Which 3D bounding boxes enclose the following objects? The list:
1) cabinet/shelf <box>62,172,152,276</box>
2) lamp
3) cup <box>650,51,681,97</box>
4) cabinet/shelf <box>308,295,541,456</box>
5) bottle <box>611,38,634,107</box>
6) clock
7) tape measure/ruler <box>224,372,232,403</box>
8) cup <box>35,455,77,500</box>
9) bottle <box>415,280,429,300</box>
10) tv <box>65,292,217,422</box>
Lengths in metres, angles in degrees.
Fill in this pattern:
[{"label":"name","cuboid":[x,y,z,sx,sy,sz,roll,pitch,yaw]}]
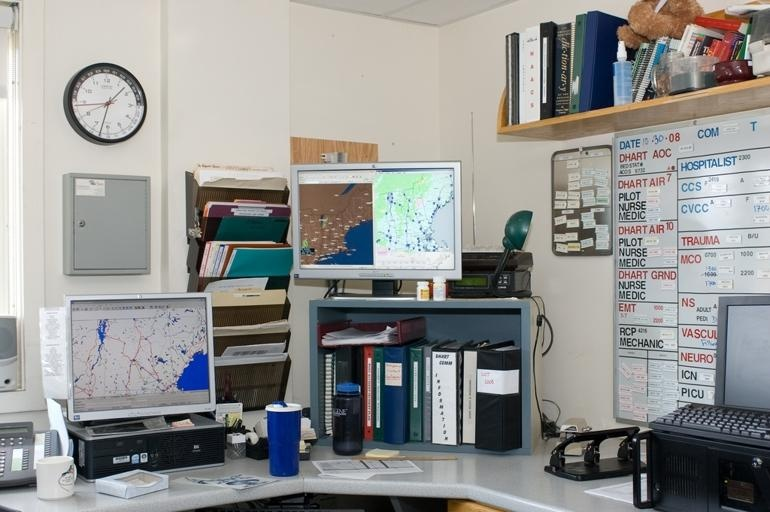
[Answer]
[{"label":"cabinet/shelf","cuboid":[-1.385,-0.153,3.291,0.481,0.642,0.223,1,-3,-30]},{"label":"lamp","cuboid":[0.618,-0.011,3.230,0.160,0.333,0.212,-1,0,-29]},{"label":"cup","cuboid":[1.191,-0.764,2.825,0.120,0.143,0.097,-1,0,24]},{"label":"cabinet/shelf","cuboid":[0.235,0.690,3.454,1.268,0.875,0.668,-1,-5,14]},{"label":"bottle","cuboid":[1.059,-0.800,2.978,0.080,0.218,0.147,-1,0,16]},{"label":"clock","cuboid":[-1.403,-0.765,3.362,0.395,0.425,0.094,-4,34,-22]},{"label":"tape measure/ruler","cuboid":[-0.780,0.649,3.340,0.040,0.115,0.133,-1,0,-13]},{"label":"cup","cuboid":[-1.262,0.846,2.572,0.156,0.135,0.118,8,-11,-44]},{"label":"bottle","cuboid":[0.173,0.170,3.292,0.076,0.087,0.077,1,-3,1]},{"label":"tv","cuboid":[-1.098,0.453,2.951,0.556,0.470,0.061,0,-5,-22]}]
